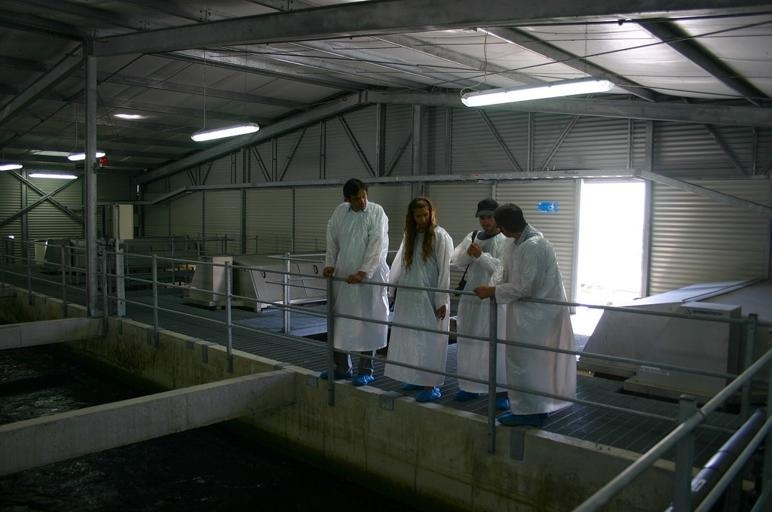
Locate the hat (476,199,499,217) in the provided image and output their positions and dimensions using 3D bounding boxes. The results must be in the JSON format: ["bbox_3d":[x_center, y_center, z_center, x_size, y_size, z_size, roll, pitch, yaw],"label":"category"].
[{"bbox_3d":[1.099,-0.524,6.409,0.168,0.129,0.238,0,1,22],"label":"hat"}]

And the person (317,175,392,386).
[{"bbox_3d":[-0.378,0.369,7.065,0.834,2.524,0.813,2,13,11],"label":"person"}]

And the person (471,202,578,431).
[{"bbox_3d":[1.446,0.663,5.956,0.918,2.313,0.640,3,13,16],"label":"person"}]
